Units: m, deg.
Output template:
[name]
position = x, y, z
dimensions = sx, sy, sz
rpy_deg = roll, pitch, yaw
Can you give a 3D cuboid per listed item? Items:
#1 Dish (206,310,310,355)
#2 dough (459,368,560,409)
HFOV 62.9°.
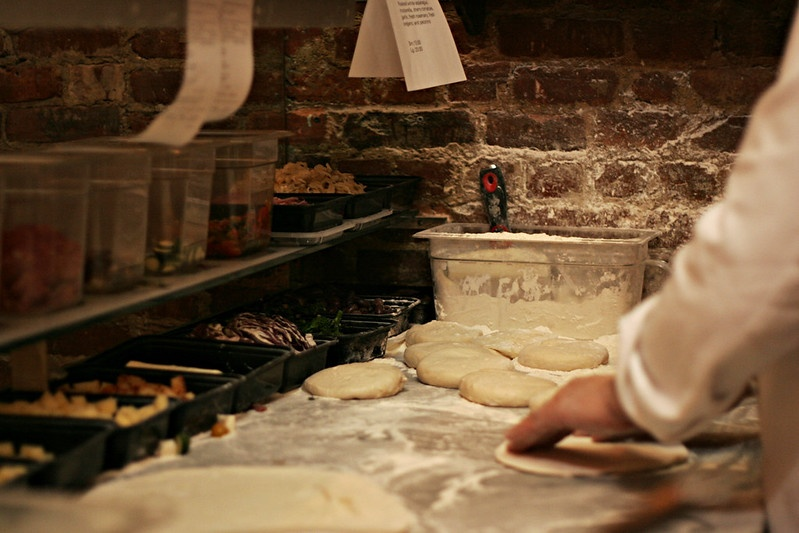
[Dish]
position = -0.319, 0.149, 1.506
dimensions = 0.260, 0.064, 0.254
rpy_deg = 3, 4, -1
[dough]
position = 0.241, 0.269, 1.442
dimensions = 0.198, 0.056, 0.131
rpy_deg = 5, 5, 20
